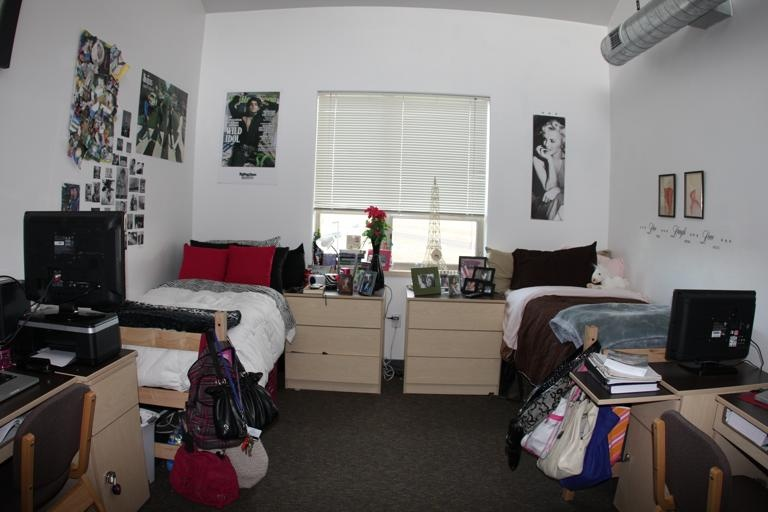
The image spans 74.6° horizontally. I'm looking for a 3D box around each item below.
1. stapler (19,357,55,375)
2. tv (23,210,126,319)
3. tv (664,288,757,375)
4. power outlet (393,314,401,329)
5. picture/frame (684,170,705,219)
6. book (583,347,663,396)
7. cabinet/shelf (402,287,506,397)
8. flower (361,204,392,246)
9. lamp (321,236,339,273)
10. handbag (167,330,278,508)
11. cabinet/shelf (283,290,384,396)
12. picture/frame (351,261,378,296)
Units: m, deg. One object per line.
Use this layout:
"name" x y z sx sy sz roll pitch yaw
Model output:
"stapler" -1.973 0.619 2.856 0.135 0.049 0.102 4 0 7
"tv" -1.819 0.030 2.939 0.585 0.602 0.187 0 4 -4
"tv" 2.069 0.472 3.168 0.559 0.538 0.160 1 7 -7
"power outlet" 0.133 0.671 5.170 0.119 0.179 0.093 0 3 5
"picture/frame" 2.540 -0.499 4.154 0.207 0.392 0.014 -4 4 -16
"book" 1.462 0.705 3.088 0.384 0.211 0.222 2 3 0
"cabinet/shelf" 0.600 0.768 4.759 0.907 0.862 0.707 2 6 0
"flower" -0.074 -0.289 4.846 0.364 0.462 0.341 -1 0 25
"lamp" -0.560 -0.017 5.154 0.183 0.466 0.133 -7 29 -15
"handbag" -1.030 1.045 3.277 0.646 1.126 0.455 0 3 -23
"cabinet/shelf" -0.418 0.768 4.686 0.929 0.902 0.567 1 4 11
"picture/frame" -0.166 0.209 4.523 0.262 0.271 0.112 -3 -15 34
